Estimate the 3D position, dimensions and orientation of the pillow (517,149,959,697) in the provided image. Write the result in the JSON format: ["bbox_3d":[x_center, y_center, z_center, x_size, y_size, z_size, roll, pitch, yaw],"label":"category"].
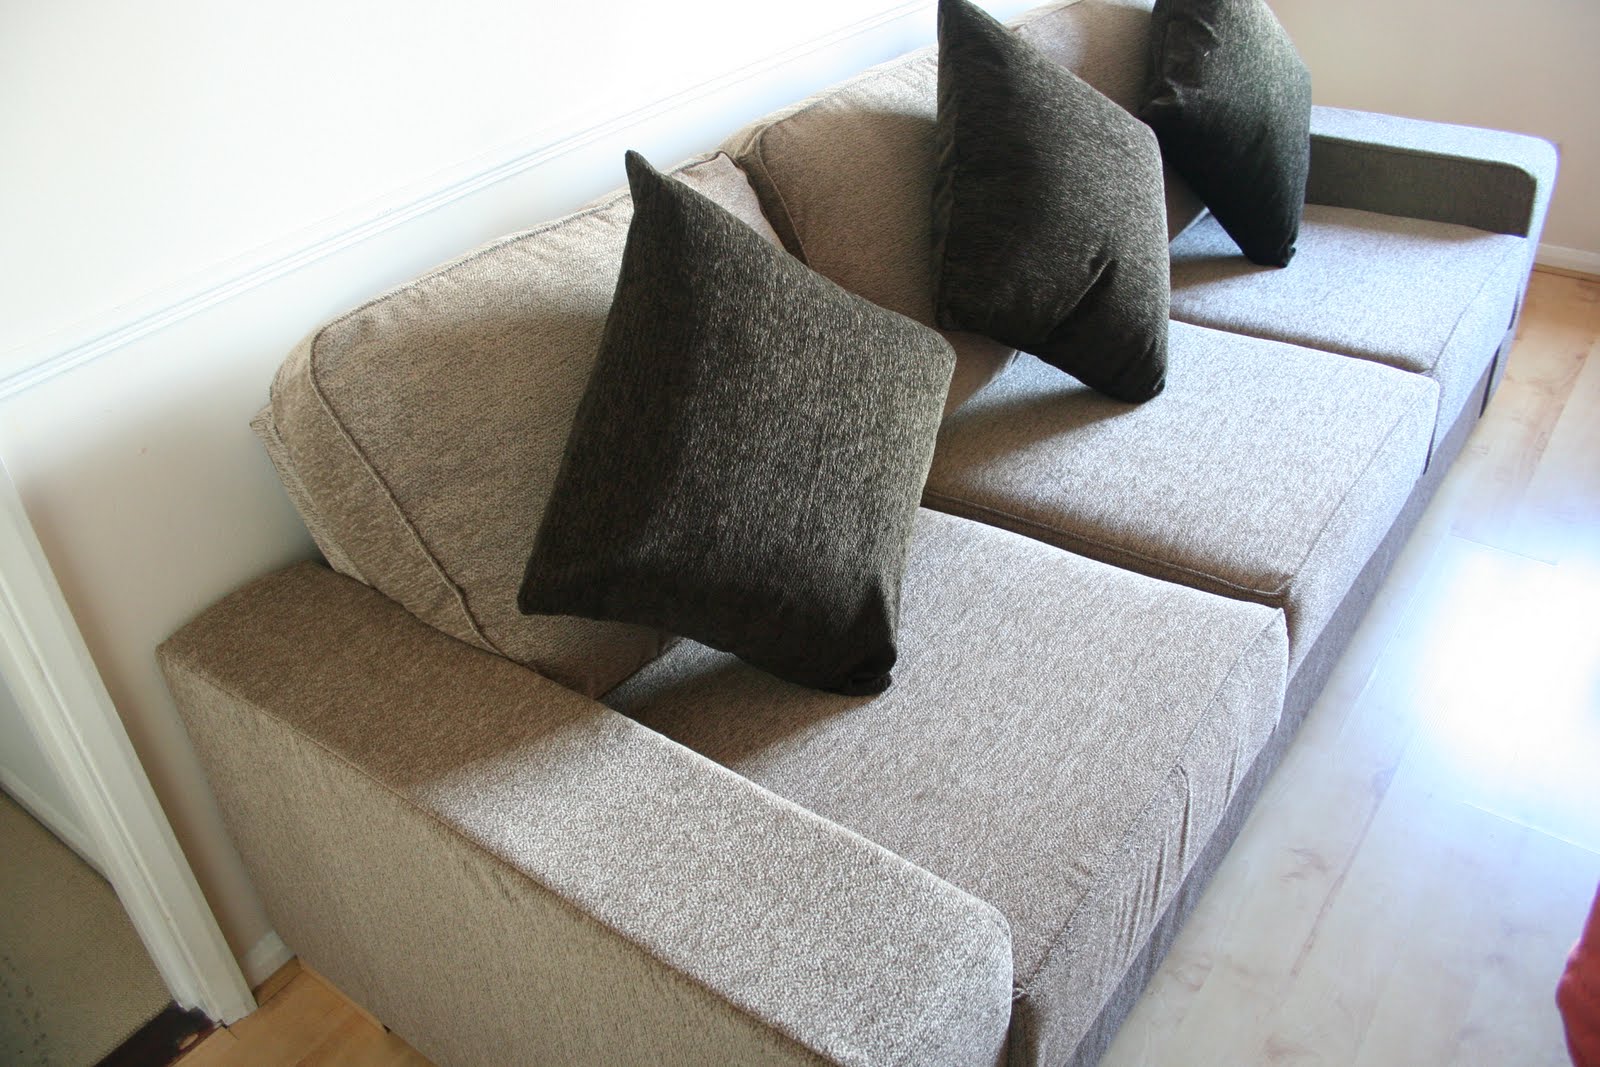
[{"bbox_3d":[-0.177,-0.134,2.000,0.215,0.723,0.686,-3,67,47],"label":"pillow"}]
